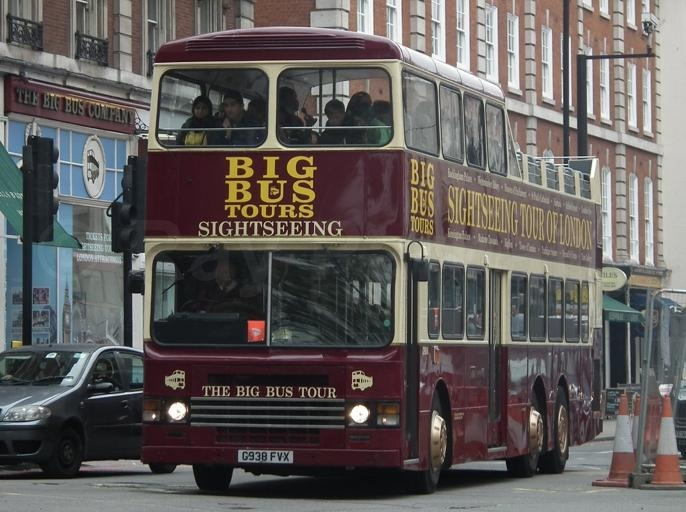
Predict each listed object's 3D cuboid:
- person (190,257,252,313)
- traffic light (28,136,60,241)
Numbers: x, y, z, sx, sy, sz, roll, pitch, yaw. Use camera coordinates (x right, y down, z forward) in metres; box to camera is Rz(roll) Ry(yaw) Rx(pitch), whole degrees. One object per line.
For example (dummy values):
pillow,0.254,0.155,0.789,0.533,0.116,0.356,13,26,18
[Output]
person,-1.446,0.346,16.710,0.720,0.696,0.191,1,1,-5
traffic light,-4.871,-1.112,22.038,0.473,1.699,0.481,0,1,-15
